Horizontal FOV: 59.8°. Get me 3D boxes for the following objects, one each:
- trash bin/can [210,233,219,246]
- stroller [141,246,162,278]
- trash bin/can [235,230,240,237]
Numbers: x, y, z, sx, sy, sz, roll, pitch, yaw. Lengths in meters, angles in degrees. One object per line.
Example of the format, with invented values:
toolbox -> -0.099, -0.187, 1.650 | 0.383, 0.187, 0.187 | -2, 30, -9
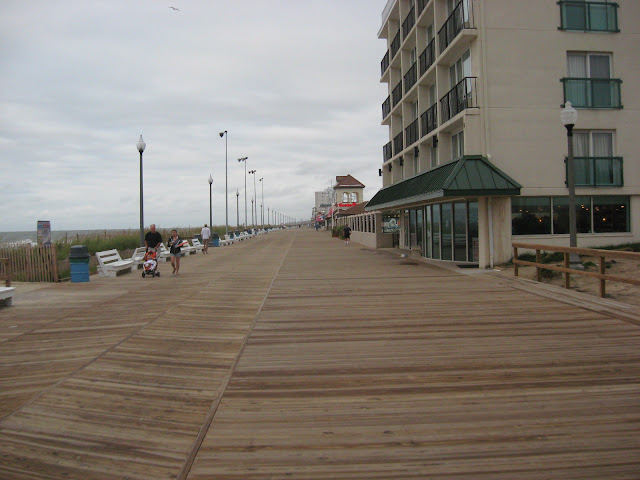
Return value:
trash bin/can -> -7.997, 0.088, 42.370 | 0.781, 0.920, 0.821 | -1, -3, -2
stroller -> -6.075, 0.848, 19.827 | 0.562, 1.081, 0.774 | -5, 15, -14
trash bin/can -> -9.157, -0.427, 60.717 | 0.529, 1.098, 1.087 | -2, 5, -5
